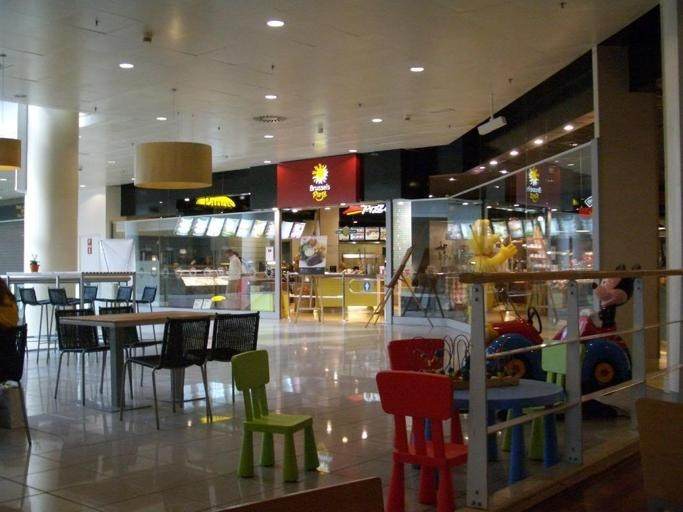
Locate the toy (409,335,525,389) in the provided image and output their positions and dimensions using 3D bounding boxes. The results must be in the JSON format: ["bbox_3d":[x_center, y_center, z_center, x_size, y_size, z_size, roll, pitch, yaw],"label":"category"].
[{"bbox_3d":[0.863,0.835,4.574,0.515,0.634,0.483,-5,-8,37],"label":"toy"}]

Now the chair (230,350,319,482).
[{"bbox_3d":[-0.507,1.220,4.699,0.583,0.919,0.588,-4,-6,28],"label":"chair"}]

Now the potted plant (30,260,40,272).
[{"bbox_3d":[-5.640,0.181,11.132,0.169,0.208,0.205,3,-11,-16],"label":"potted plant"}]

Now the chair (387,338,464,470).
[{"bbox_3d":[0.604,1.039,4.744,0.451,0.707,0.470,-9,13,38],"label":"chair"}]

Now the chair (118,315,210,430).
[{"bbox_3d":[-1.829,1.190,6.295,0.827,1.085,0.784,-2,-3,26],"label":"chair"}]

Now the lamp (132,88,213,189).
[{"bbox_3d":[-2.348,-1.699,8.480,1.126,1.279,1.159,4,9,30],"label":"lamp"}]

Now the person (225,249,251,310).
[{"bbox_3d":[-2.838,0.611,16.336,0.749,1.603,0.183,-3,-2,39],"label":"person"}]

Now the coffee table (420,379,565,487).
[{"bbox_3d":[1.205,1.258,4.394,0.731,0.323,0.741,-23,-10,8],"label":"coffee table"}]

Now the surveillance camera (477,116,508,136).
[{"bbox_3d":[2.671,-2.334,10.584,0.344,0.180,0.487,-40,14,-33],"label":"surveillance camera"}]
